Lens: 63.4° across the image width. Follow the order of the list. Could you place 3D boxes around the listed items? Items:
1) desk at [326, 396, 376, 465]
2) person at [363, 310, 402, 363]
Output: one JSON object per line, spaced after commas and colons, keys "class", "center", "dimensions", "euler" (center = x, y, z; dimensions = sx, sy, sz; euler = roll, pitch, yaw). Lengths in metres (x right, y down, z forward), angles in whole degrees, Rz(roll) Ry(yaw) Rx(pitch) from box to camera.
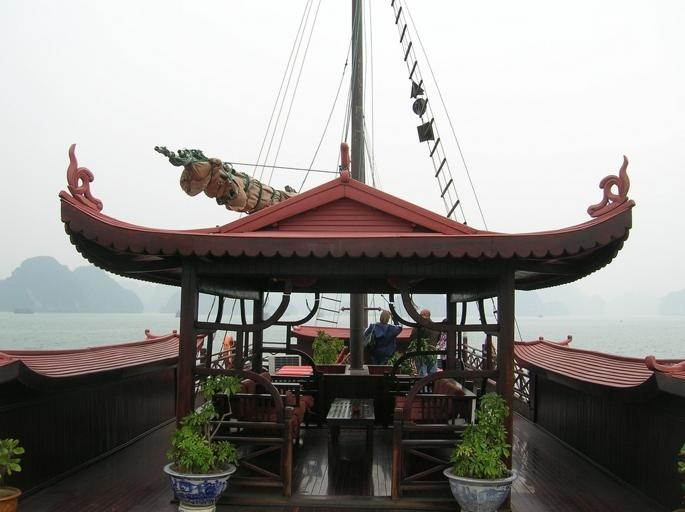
{"class": "desk", "center": [0.109, 2.634, 8.317], "dimensions": [0.653, 0.699, 1.268], "euler": [2, -4, 1]}
{"class": "person", "center": [0.882, 1.826, 12.692], "dimensions": [0.759, 1.188, 0.824], "euler": [2, -4, 4]}
